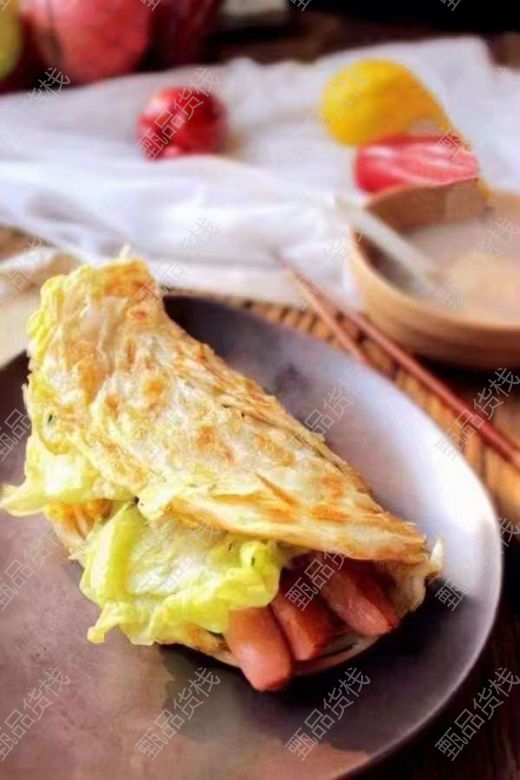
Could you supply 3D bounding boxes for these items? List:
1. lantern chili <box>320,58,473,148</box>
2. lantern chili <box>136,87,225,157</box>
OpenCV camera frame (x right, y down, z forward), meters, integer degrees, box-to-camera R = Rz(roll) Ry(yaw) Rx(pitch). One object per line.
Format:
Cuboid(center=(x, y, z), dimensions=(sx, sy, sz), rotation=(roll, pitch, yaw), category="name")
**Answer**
Cuboid(center=(0.243, -0.566, 1.526), dimensions=(0.214, 0.358, 0.078), rotation=(-10, 86, 31), category="lantern chili")
Cuboid(center=(-0.258, -0.787, 2.259), dimensions=(0.303, 0.251, 0.116), rotation=(10, 54, 9), category="lantern chili")
